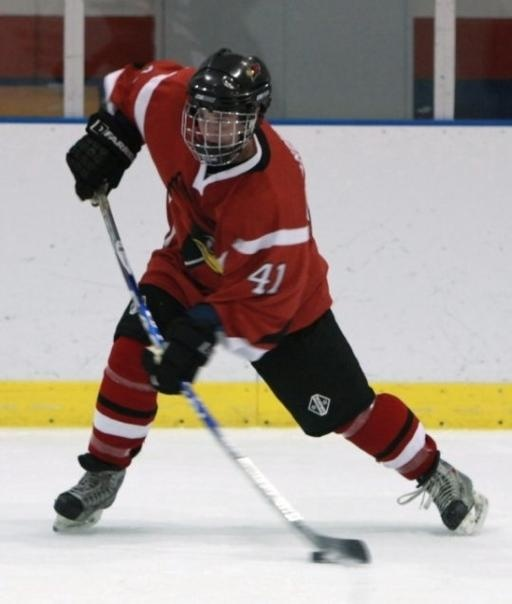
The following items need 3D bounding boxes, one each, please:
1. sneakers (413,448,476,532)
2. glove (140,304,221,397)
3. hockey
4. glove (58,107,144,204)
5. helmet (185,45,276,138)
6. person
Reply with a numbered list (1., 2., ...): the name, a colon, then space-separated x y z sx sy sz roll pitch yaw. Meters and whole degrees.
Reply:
1. sneakers: 0.485 0.490 2.082 0.150 0.074 0.235 53 29 9
2. glove: -0.149 0.101 1.761 0.148 0.222 0.084 55 5 -5
3. hockey: -0.091 0.221 2.157 1.295 0.194 0.203 50 21 28
4. glove: -0.383 -0.351 2.025 0.106 0.233 0.182 18 31 -55
5. helmet: -0.063 -0.455 1.807 0.177 0.171 0.189 17 34 16
6. person: 0.031 0.030 2.469 1.074 1.249 1.018 -27 51 -29
